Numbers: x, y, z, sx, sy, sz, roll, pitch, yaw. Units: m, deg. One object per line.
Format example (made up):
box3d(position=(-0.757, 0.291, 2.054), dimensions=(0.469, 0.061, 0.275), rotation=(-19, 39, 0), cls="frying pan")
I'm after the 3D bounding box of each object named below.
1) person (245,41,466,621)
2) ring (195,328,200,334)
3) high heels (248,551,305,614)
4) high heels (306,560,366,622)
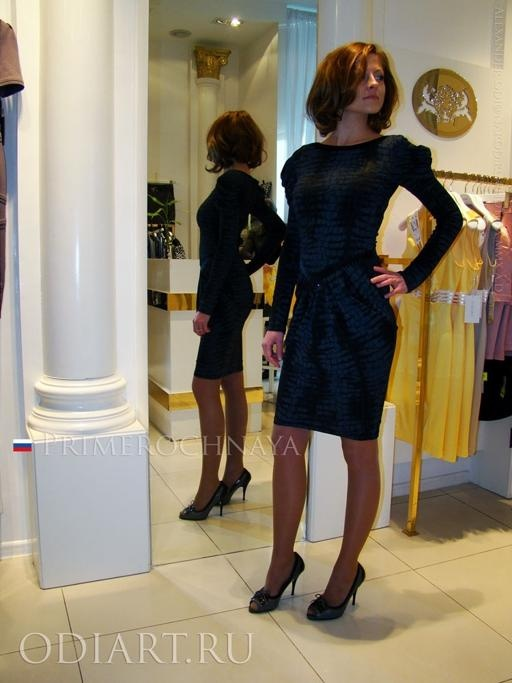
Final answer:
box3d(position=(0.264, -0.011, 1.408), dimensions=(0.521, 1.558, 0.247), rotation=(3, 4, 19), cls="person")
box3d(position=(-0.213, -0.037, 1.912), dimensions=(0.007, 0.014, 0.020), rotation=(-5, 19, -13), cls="ring")
box3d(position=(0.053, 0.699, 1.552), dimensions=(0.238, 0.169, 0.081), rotation=(0, -2, -39), cls="high heels")
box3d(position=(0.203, 0.710, 1.514), dimensions=(0.216, 0.158, 0.087), rotation=(3, -2, -28), cls="high heels")
